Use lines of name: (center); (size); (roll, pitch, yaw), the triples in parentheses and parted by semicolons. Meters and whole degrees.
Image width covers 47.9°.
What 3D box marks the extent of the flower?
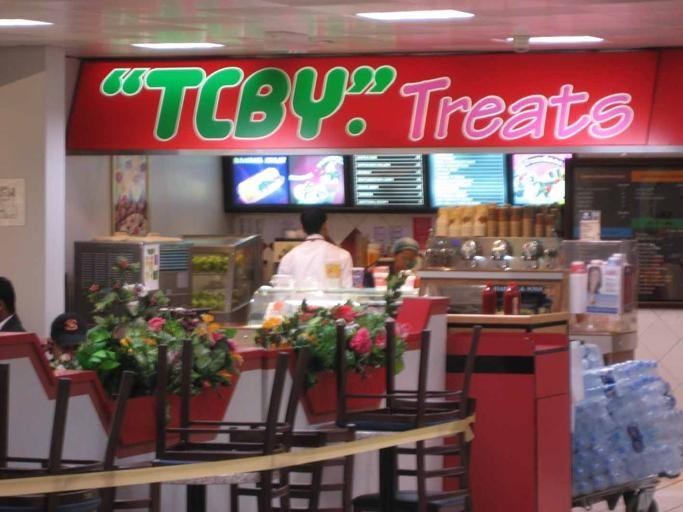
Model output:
flower: (-0.533, 0.384, 3.590); (1.126, 0.333, 0.770); (1, -6, 2)

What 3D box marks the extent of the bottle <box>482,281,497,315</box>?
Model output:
bottle: (0.972, 0.275, 5.049); (0.074, 0.195, 0.103); (-2, -3, 27)

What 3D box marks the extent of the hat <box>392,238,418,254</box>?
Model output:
hat: (0.566, -0.096, 6.875); (0.216, 0.146, 0.226); (0, -2, 1)

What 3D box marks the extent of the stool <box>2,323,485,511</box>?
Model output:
stool: (-0.313, 0.738, 3.204); (2.050, 0.860, 0.377); (2, -3, -38)

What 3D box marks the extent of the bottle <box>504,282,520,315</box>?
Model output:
bottle: (1.112, 0.274, 5.026); (0.092, 0.202, 0.167); (-1, -3, 11)
